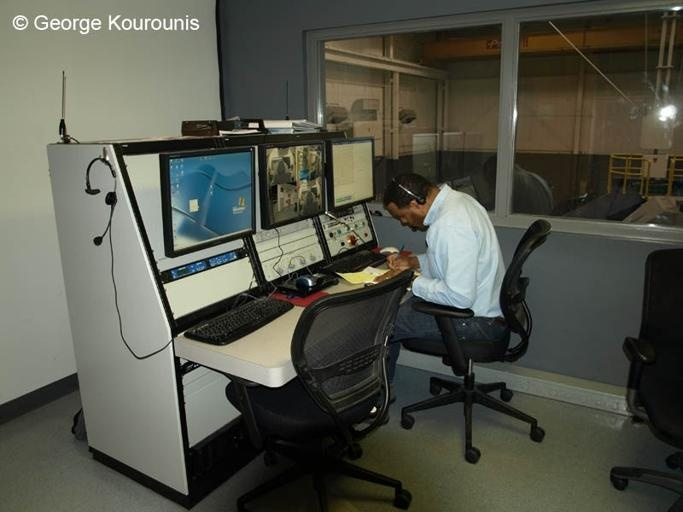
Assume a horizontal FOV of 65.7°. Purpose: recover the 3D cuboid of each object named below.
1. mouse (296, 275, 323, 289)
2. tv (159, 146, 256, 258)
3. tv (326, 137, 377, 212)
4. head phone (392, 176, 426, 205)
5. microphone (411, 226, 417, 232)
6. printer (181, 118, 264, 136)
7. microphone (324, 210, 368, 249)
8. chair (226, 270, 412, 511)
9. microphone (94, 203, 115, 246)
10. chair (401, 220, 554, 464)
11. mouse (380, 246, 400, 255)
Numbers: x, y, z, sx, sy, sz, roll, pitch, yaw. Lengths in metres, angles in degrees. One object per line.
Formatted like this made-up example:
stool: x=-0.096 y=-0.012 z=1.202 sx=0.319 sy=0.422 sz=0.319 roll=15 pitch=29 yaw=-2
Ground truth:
mouse: x=-0.206 y=0.159 z=2.984 sx=0.097 sy=0.032 sz=0.069 roll=1 pitch=18 yaw=36
tv: x=-0.696 y=-0.267 z=2.675 sx=0.072 sy=0.438 sz=0.525 roll=12 pitch=18 yaw=39
tv: x=0.083 y=-0.534 z=3.533 sx=0.059 sy=0.438 sz=0.582 roll=-2 pitch=4 yaw=-31
head phone: x=0.388 y=-0.349 z=3.058 sx=0.146 sy=0.040 sz=0.148 roll=35 pitch=-7 yaw=36
microphone: x=0.435 y=-0.153 z=3.295 sx=0.033 sy=0.024 sz=0.043 roll=-21 pitch=-15 yaw=20
printer: x=-0.682 y=-0.729 z=3.113 sx=0.218 sy=0.092 sz=0.553 roll=12 pitch=22 yaw=39
microphone: x=0.018 y=-0.147 z=3.566 sx=0.252 sy=0.247 sz=0.056 roll=-10 pitch=0 yaw=-45
chair: x=-0.150 y=0.690 z=2.638 sx=0.782 sy=1.131 sz=0.831 roll=20 pitch=26 yaw=39
microphone: x=-1.168 y=-0.138 z=2.618 sx=0.052 sy=0.192 sz=0.136 roll=1 pitch=-10 yaw=40
chair: x=0.792 y=0.453 z=3.295 sx=0.886 sy=1.308 sz=0.868 roll=-2 pitch=12 yaw=-6
mouse: x=0.316 y=-0.017 z=3.577 sx=0.097 sy=0.032 sz=0.060 roll=5 pitch=13 yaw=22
